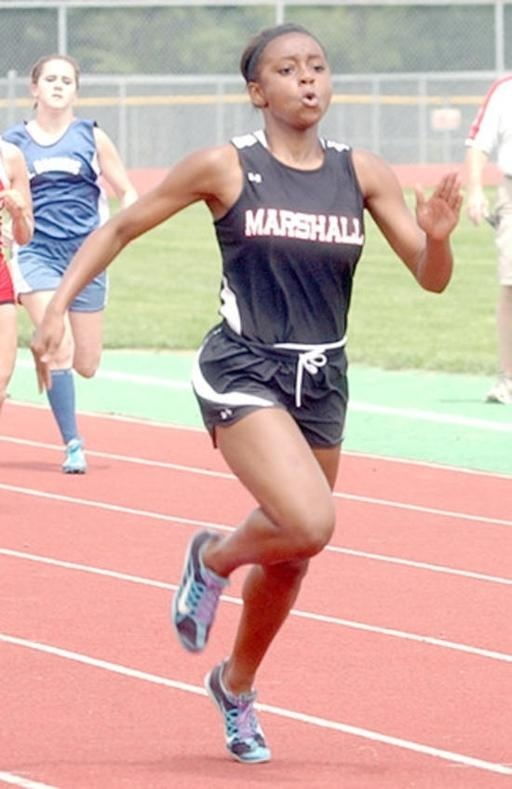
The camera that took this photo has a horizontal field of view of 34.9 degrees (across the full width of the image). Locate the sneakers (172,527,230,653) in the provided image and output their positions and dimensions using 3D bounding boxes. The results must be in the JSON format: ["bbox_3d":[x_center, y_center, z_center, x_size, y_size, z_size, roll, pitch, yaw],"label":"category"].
[{"bbox_3d":[-0.124,0.401,1.677,0.099,0.261,0.122,20,-18,-33],"label":"sneakers"}]

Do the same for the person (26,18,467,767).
[{"bbox_3d":[-0.024,-0.002,1.680,0.811,1.594,0.541,4,7,11],"label":"person"}]

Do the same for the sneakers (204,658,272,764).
[{"bbox_3d":[-0.027,0.664,1.749,0.083,0.098,0.225,-10,59,-36],"label":"sneakers"}]

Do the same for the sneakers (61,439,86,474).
[{"bbox_3d":[-1.065,0.361,4.774,0.094,0.102,0.258,0,10,-4],"label":"sneakers"}]
